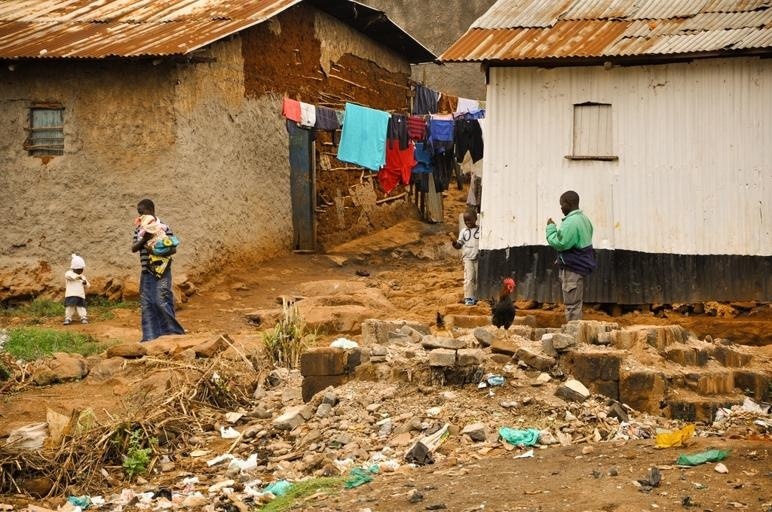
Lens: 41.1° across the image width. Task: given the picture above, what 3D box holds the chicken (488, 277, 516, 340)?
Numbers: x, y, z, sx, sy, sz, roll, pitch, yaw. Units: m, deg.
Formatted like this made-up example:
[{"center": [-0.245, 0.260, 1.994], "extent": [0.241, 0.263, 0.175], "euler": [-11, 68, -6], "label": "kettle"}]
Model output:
[{"center": [1.662, 0.754, 14.631], "extent": [0.321, 0.805, 0.896], "euler": [5, -7, -7], "label": "chicken"}]

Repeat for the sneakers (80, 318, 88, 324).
[{"center": [-5.220, 1.119, 17.784], "extent": [0.062, 0.069, 0.172], "euler": [-1, -7, -21], "label": "sneakers"}]

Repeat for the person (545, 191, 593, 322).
[{"center": [2.704, -0.008, 15.181], "extent": [0.701, 1.912, 0.456], "euler": [2, 3, 6], "label": "person"}]

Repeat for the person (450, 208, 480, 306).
[{"center": [1.393, -0.033, 17.914], "extent": [0.395, 1.686, 0.915], "euler": [2, 3, 3], "label": "person"}]

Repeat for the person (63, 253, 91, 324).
[{"center": [-5.479, 0.574, 18.202], "extent": [0.429, 1.168, 1.149], "euler": [1, 3, -17], "label": "person"}]

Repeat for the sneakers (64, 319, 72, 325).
[{"center": [-5.510, 1.125, 17.790], "extent": [0.070, 0.085, 0.212], "euler": [0, -9, -10], "label": "sneakers"}]

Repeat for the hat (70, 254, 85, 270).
[{"center": [-5.489, 0.096, 18.298], "extent": [0.158, 0.172, 0.220], "euler": [-10, 51, -37], "label": "hat"}]
